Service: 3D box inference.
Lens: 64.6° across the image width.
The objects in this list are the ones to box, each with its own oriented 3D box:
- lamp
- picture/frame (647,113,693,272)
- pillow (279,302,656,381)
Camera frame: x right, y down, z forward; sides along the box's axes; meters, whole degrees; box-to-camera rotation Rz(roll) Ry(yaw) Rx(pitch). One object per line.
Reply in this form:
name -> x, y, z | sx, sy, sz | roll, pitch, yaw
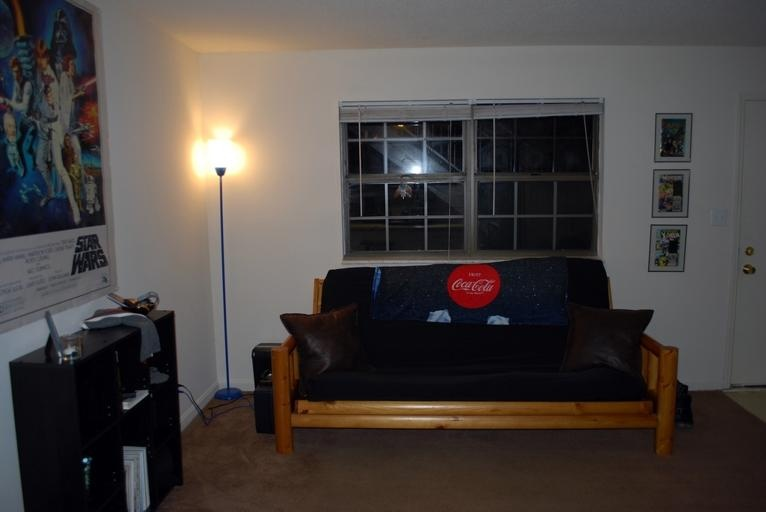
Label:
lamp -> -1.360, 0.110, 5.266 | 0.282, 2.252, 0.484 | -3, 10, -13
picture/frame -> 2.483, -0.542, 5.213 | 0.313, 1.347, 0.146 | 0, 10, 1
pillow -> 0.668, 0.639, 4.574 | 2.686, 0.482, 0.475 | 0, 10, 1
